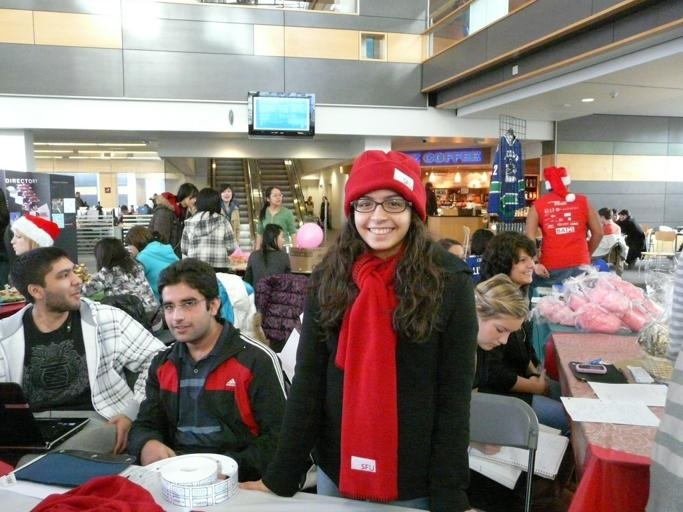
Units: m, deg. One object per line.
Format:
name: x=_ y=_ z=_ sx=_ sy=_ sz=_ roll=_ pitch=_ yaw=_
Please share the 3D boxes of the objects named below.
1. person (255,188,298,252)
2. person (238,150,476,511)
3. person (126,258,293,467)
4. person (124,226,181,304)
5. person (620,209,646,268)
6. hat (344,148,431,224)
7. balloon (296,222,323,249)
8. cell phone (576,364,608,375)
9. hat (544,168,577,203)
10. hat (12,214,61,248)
person: x=-0.903 y=-0.263 z=6.836 sx=0.574 sy=1.327 sz=0.314 roll=1 pitch=26 yaw=-6
person: x=0.098 y=0.248 z=1.609 sx=0.638 sy=1.145 sz=0.289 roll=2 pitch=8 yaw=19
person: x=-0.617 y=0.517 z=2.272 sx=0.722 sy=0.988 sz=0.584 roll=1 pitch=3 yaw=13
person: x=-1.815 y=0.203 z=4.736 sx=0.460 sy=0.950 sz=0.395 roll=-1 pitch=16 yaw=-1
person: x=5.966 y=-0.290 z=10.449 sx=0.501 sy=0.976 sz=0.598 roll=0 pitch=8 yaw=9
hat: x=0.132 y=-0.213 z=1.734 sx=0.294 sy=0.269 sz=0.345 roll=-1 pitch=-18 yaw=-3
balloon: x=-0.399 y=-0.227 z=6.035 sx=0.273 sy=0.310 sz=0.337 roll=18 pitch=13 yaw=11
cell phone: x=1.241 y=0.563 z=2.513 sx=0.105 sy=0.024 sz=0.062 roll=-1 pitch=4 yaw=7
hat: x=2.266 y=-0.726 z=5.163 sx=0.142 sy=0.319 sz=0.195 roll=21 pitch=-36 yaw=-10
hat: x=-2.659 y=-0.223 z=4.371 sx=0.357 sy=0.305 sz=0.280 roll=7 pitch=2 yaw=-19
